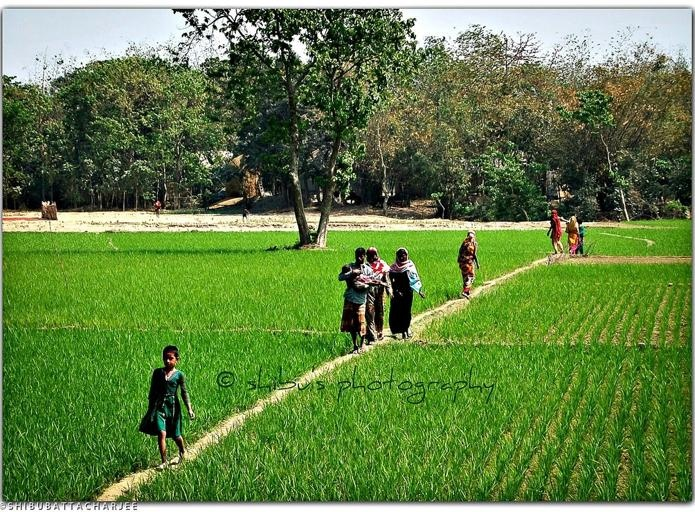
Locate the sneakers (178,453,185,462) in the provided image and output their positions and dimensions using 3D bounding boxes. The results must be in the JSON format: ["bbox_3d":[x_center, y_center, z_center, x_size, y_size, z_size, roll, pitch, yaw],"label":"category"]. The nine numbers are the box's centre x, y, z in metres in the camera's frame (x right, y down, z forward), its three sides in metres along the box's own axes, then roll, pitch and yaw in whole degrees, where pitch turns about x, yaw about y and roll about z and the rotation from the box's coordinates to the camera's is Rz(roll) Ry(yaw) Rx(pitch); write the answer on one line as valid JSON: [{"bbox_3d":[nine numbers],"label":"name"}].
[{"bbox_3d":[-2.874,3.496,13.470,0.080,0.177,0.073,-8,40,-9],"label":"sneakers"}]

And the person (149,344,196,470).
[{"bbox_3d":[-3.016,2.597,13.193,0.683,2.101,0.407,-5,13,-15],"label":"person"}]
